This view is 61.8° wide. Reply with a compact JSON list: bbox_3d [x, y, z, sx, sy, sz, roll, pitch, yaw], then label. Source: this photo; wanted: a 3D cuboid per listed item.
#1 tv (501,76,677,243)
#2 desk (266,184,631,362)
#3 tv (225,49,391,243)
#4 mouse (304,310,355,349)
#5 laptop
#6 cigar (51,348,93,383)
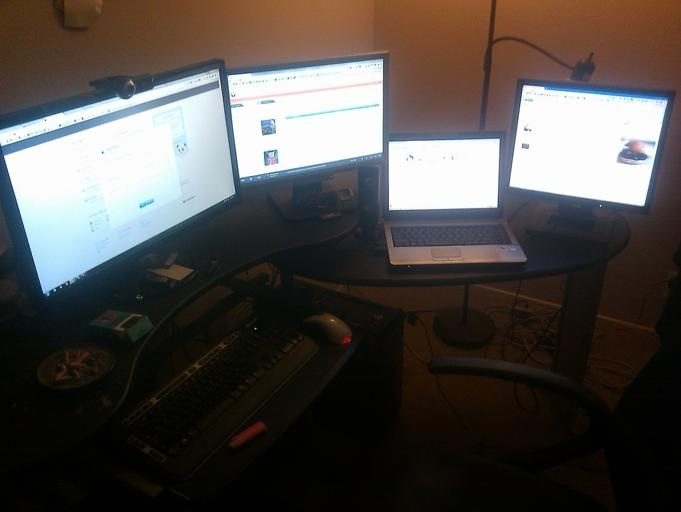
[{"bbox_3d":[0.881,-0.354,2.036,0.529,0.566,0.208,13,34,20],"label":"tv"},{"bbox_3d":[0.447,0.162,2.224,1.159,0.593,0.699,-3,35,1],"label":"desk"},{"bbox_3d":[-0.111,-0.365,1.971,0.575,0.535,0.228,-11,37,-15],"label":"tv"},{"bbox_3d":[-0.034,0.223,1.725,0.132,0.048,0.081,26,39,25],"label":"mouse"},{"bbox_3d":[0.369,-0.208,2.040,0.517,0.441,0.398,-2,39,-3],"label":"laptop"},{"bbox_3d":[-0.677,0.282,1.423,0.057,0.026,0.082,19,47,9],"label":"cigar"}]
